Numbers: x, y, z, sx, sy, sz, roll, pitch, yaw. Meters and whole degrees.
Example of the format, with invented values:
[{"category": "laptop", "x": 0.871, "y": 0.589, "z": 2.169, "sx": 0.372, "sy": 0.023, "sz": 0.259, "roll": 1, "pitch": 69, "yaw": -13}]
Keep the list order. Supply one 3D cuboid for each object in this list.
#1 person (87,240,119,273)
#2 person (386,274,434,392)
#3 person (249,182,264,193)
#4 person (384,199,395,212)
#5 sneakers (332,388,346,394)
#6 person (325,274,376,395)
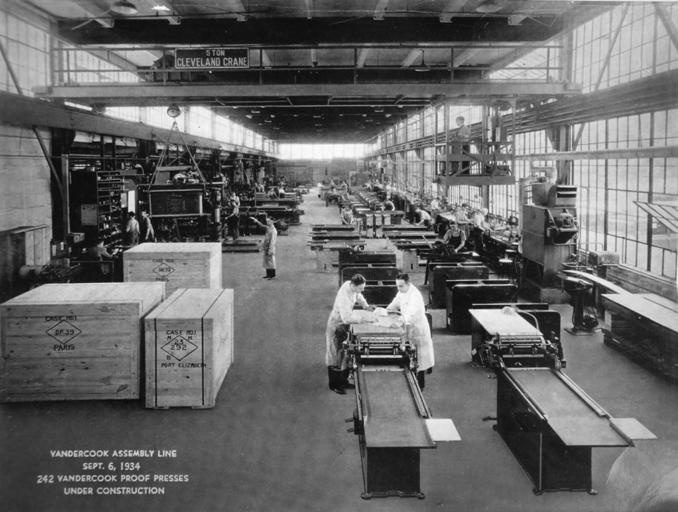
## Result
[{"category": "person", "x": -6.590, "y": 0.140, "z": 17.636, "sx": 0.717, "sy": 1.133, "sz": 0.758, "roll": 7, "pitch": -16, "yaw": -35}, {"category": "person", "x": 1.406, "y": 1.396, "z": 11.530, "sx": 0.861, "sy": 2.108, "sz": 1.218, "roll": -3, "pitch": 14, "yaw": -10}, {"category": "person", "x": -5.796, "y": -4.954, "z": 44.285, "sx": 1.435, "sy": 0.777, "sz": 1.997, "roll": 0, "pitch": 7, "yaw": -4}, {"category": "person", "x": 2.720, "y": -2.740, "z": 32.993, "sx": 0.474, "sy": 0.785, "sz": 0.324, "roll": 1, "pitch": 15, "yaw": -5}, {"category": "sneakers", "x": 0.017, "y": 2.508, "z": 11.472, "sx": 0.236, "sy": 0.064, "sz": 0.130, "roll": 1, "pitch": 15, "yaw": 9}, {"category": "person", "x": 0.227, "y": 1.492, "z": 11.424, "sx": 1.183, "sy": 2.816, "sz": 1.175, "roll": -1, "pitch": 20, "yaw": 2}]
